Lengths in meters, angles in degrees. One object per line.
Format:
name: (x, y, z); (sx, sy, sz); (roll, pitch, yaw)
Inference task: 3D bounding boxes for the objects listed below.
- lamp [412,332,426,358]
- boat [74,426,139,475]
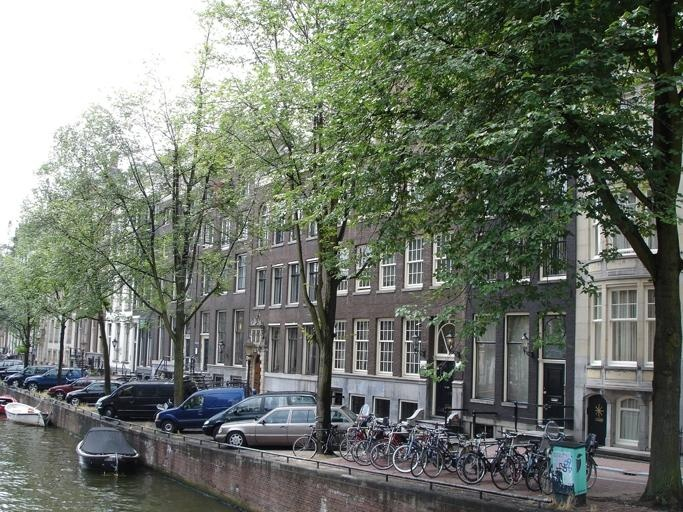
lamp: (3.449, 4.081, 35.812); (0.401, 1.079, 1.074); (2, -11, -17)
boat: (-9.461, 7.776, 31.762); (2.452, 1.761, 1.444); (-6, -11, 26)
